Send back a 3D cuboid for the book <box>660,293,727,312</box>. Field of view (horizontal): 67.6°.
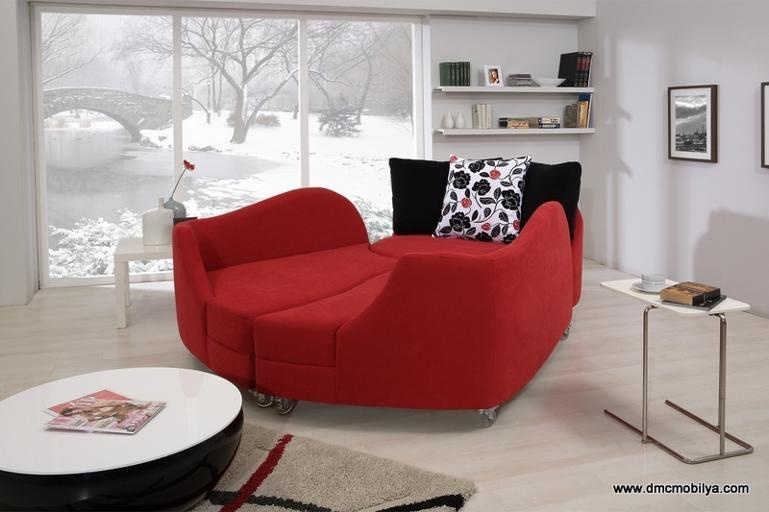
[{"bbox_3d":[1.406,0.211,2.555,0.324,0.036,0.127,-1,11,-5],"label":"book"}]

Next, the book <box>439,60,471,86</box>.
[{"bbox_3d":[0.680,-1.769,5.591,0.289,0.250,0.220,0,12,2],"label":"book"}]

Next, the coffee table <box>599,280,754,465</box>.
[{"bbox_3d":[1.419,0.528,2.897,0.643,0.794,0.992,-1,2,-21],"label":"coffee table"}]

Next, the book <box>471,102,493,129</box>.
[{"bbox_3d":[0.966,-1.392,5.883,0.245,0.295,0.311,1,4,3],"label":"book"}]

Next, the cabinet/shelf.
[{"bbox_3d":[1.300,-1.469,5.812,1.667,0.470,0.358,-2,12,-11],"label":"cabinet/shelf"}]

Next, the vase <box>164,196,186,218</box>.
[{"bbox_3d":[-1.649,-0.386,4.583,0.202,0.207,0.189,-6,11,-14],"label":"vase"}]

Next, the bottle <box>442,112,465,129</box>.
[{"bbox_3d":[0.688,-1.342,5.696,0.271,0.174,0.180,-11,16,-42],"label":"bottle"}]

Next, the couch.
[{"bbox_3d":[0.041,0.053,3.978,2.341,1.201,2.714,3,15,26],"label":"couch"}]

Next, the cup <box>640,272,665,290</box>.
[{"bbox_3d":[1.280,0.117,2.742,0.098,0.052,0.093,0,10,0],"label":"cup"}]
